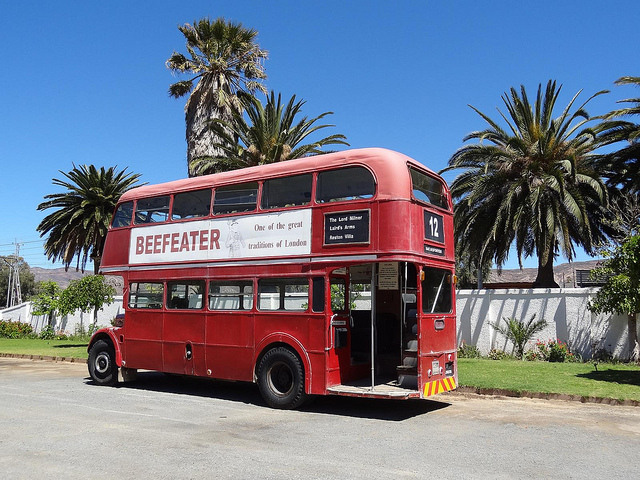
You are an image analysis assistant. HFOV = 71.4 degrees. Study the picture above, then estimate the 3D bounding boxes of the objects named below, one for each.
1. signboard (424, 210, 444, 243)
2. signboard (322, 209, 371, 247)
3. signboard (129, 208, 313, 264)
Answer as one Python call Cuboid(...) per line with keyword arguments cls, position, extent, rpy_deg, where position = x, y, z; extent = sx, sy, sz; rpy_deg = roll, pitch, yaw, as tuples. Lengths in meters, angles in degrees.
Cuboid(cls="signboard", position=(2.740, -0.353, 10.653), extent=(0.912, 0.684, 0.054), rpy_deg=(5, -3, -33))
Cuboid(cls="signboard", position=(0.645, -0.262, 10.113), extent=(0.808, 0.620, 0.086), rpy_deg=(-3, -10, 32))
Cuboid(cls="signboard", position=(-2.806, -0.031, 11.957), extent=(5.960, 1.237, 0.095), rpy_deg=(-3, -9, 29))
